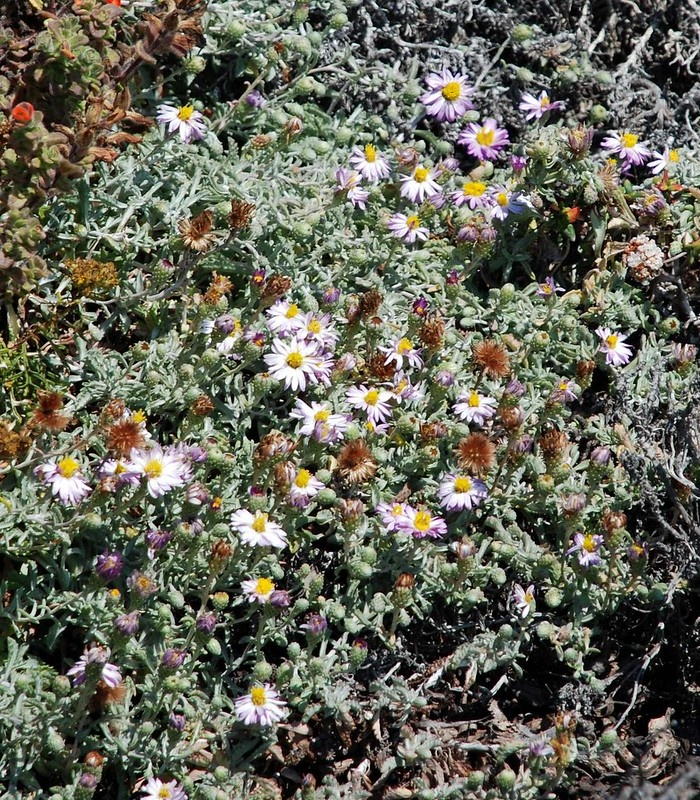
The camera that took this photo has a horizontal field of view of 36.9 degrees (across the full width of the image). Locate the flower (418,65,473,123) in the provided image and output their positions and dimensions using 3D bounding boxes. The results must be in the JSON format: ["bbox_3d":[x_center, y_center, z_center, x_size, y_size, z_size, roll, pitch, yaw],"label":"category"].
[{"bbox_3d":[0.302,-0.922,3.166,0.143,0.142,0.041,30,72,-25],"label":"flower"}]
